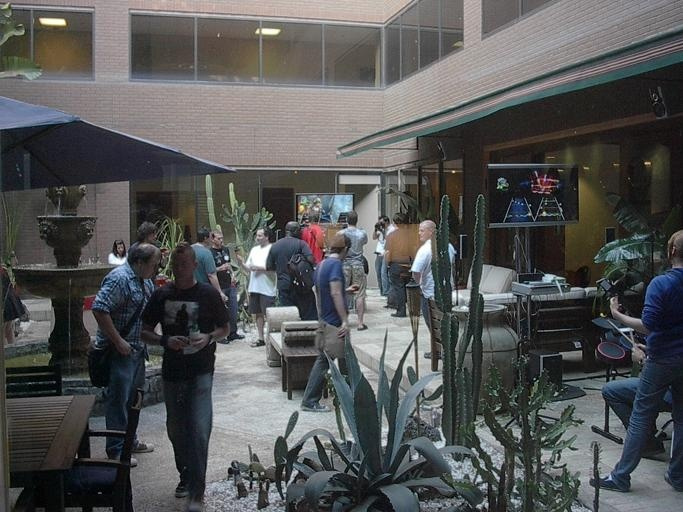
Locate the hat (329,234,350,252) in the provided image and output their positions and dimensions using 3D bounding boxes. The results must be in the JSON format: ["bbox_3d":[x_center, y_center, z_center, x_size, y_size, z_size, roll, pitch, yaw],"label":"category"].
[{"bbox_3d":[-0.055,-0.166,7.266,0.218,0.236,0.154,-17,22,-35],"label":"hat"}]

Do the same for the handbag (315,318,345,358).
[{"bbox_3d":[-0.133,0.911,7.249,0.253,0.433,0.421,-8,10,-23],"label":"handbag"}]

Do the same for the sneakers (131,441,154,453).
[{"bbox_3d":[-1.970,1.891,6.372,0.263,0.116,0.101,1,4,-18],"label":"sneakers"}]

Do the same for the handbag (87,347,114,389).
[{"bbox_3d":[-2.211,1.007,5.892,0.215,0.376,0.086,1,1,16],"label":"handbag"}]

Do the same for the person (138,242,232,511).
[{"bbox_3d":[-1.308,0.970,5.490,0.674,2.158,0.517,2,2,28],"label":"person"}]

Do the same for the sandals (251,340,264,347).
[{"bbox_3d":[-1.384,1.418,10.536,0.207,0.097,0.093,2,-1,-15],"label":"sandals"}]

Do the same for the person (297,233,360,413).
[{"bbox_3d":[-0.072,0.751,7.482,0.549,2.002,0.771,0,0,25],"label":"person"}]

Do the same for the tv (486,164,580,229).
[{"bbox_3d":[2.308,-0.747,7.821,1.260,0.778,0.206,1,1,-19],"label":"tv"}]

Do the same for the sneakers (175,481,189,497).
[{"bbox_3d":[-1.371,1.996,5.513,0.073,0.097,0.216,1,-10,-3],"label":"sneakers"}]

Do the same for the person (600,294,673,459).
[{"bbox_3d":[2.664,1.259,5.947,0.639,1.233,0.600,-5,-44,29],"label":"person"}]

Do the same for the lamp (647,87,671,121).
[{"bbox_3d":[3.957,-1.918,8.081,0.127,0.435,0.224,-9,3,-10],"label":"lamp"}]

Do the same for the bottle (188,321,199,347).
[{"bbox_3d":[-1.240,0.618,5.404,0.077,0.153,0.084,1,1,0],"label":"bottle"}]
